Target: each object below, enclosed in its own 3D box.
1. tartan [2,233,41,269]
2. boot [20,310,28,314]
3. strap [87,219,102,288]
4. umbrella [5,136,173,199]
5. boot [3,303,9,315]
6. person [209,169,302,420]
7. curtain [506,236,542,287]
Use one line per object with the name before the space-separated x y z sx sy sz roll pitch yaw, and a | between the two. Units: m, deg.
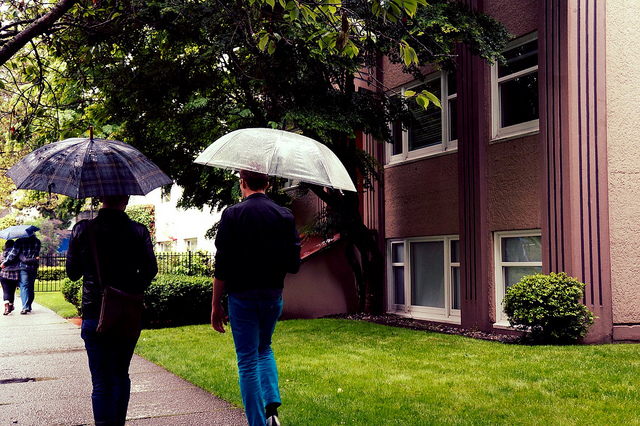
tartan | -8.783 0.970 18.961 1.073 1.165 0.693 -11 20 -40
boot | -8.692 2.897 18.965 0.165 0.105 0.246 1 4 31
strap | -2.957 0.459 8.396 0.088 0.725 0.167 -3 4 -42
umbrella | -3.134 -0.620 8.732 1.907 0.808 0.694 -1 3 5
boot | -9.109 2.776 18.705 0.158 0.322 0.248 -3 3 -31
person | -0.869 1.094 8.665 1.148 3.304 0.729 -1 3 -10
curtain | 4.659 1.148 14.750 1.067 1.377 0.094 -2 -1 -6
